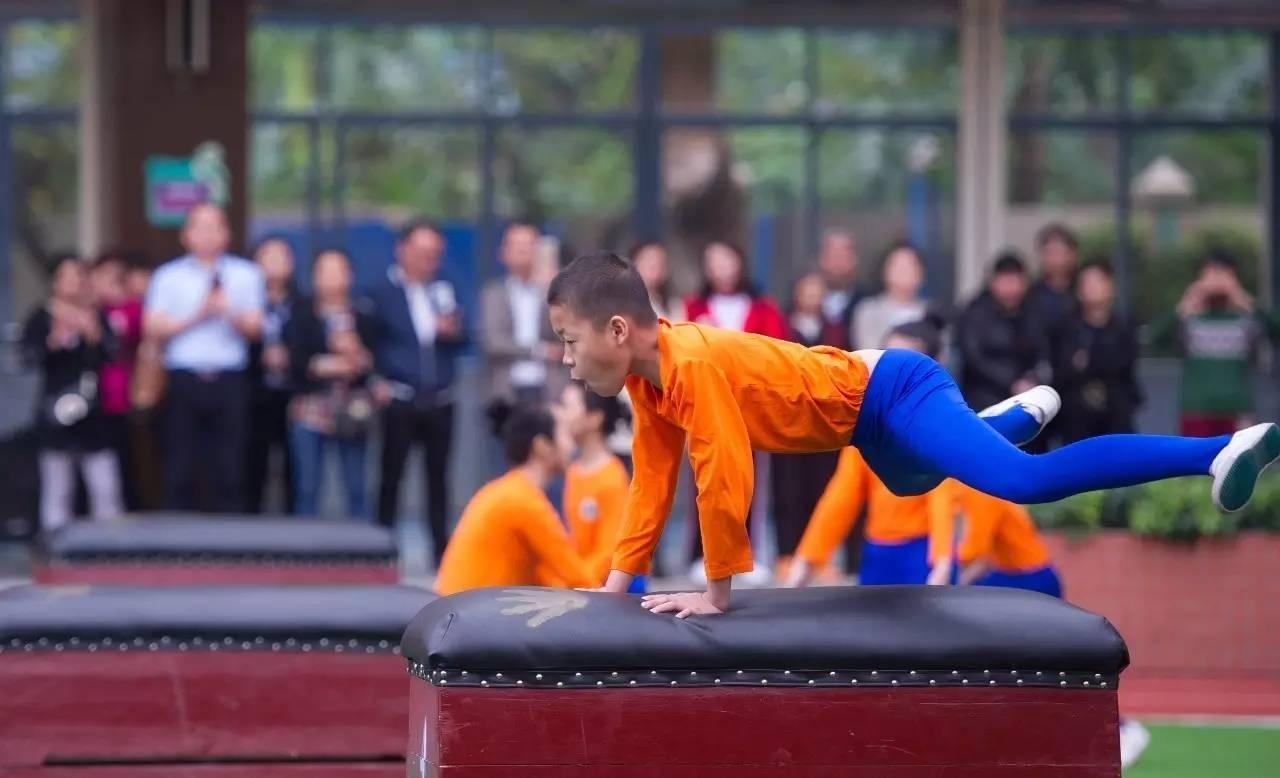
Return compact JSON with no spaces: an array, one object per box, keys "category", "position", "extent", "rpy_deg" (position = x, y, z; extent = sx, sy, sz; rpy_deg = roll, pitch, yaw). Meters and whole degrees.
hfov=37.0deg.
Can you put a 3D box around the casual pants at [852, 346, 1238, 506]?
[{"category":"casual pants","position":[2.272,0.373,11.577],"extent":[1.684,0.657,1.068],"rpy_deg":[9,-32,-11]}]

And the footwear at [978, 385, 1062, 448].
[{"category":"footwear","position":[2.400,0.143,11.948],"extent":[0.528,0.217,0.316],"rpy_deg":[-32,56,-21]}]

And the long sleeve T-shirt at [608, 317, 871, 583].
[{"category":"long sleeve T-shirt","position":[0.934,0.314,11.938],"extent":[2.281,1.414,1.291],"rpy_deg":[-8,-2,-16]}]
